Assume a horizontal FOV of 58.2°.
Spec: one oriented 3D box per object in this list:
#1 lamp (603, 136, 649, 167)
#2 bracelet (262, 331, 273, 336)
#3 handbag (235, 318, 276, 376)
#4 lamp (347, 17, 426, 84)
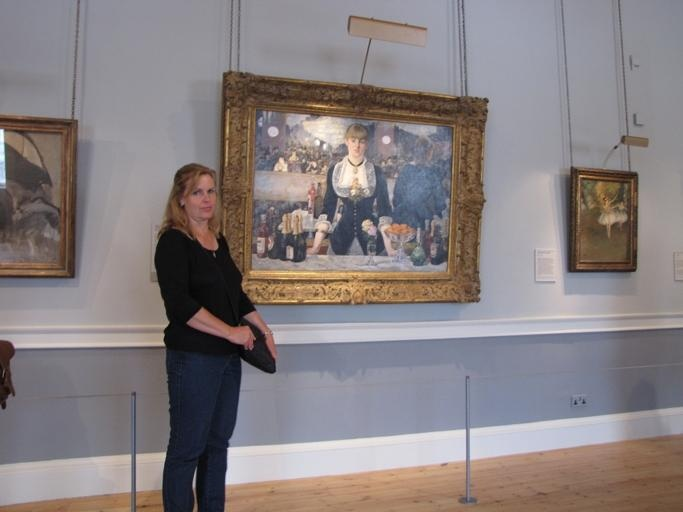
[{"bbox_3d":[3.207,-1.177,6.845,0.414,0.349,0.661,7,15,24],"label":"lamp"},{"bbox_3d":[-0.597,0.634,5.043,0.067,0.051,0.073,4,-9,-10],"label":"bracelet"},{"bbox_3d":[-0.654,0.731,4.945,0.127,0.379,0.287,-29,-11,-15],"label":"handbag"},{"bbox_3d":[0.448,-1.986,5.974,0.712,0.571,0.727,1,13,2],"label":"lamp"}]
